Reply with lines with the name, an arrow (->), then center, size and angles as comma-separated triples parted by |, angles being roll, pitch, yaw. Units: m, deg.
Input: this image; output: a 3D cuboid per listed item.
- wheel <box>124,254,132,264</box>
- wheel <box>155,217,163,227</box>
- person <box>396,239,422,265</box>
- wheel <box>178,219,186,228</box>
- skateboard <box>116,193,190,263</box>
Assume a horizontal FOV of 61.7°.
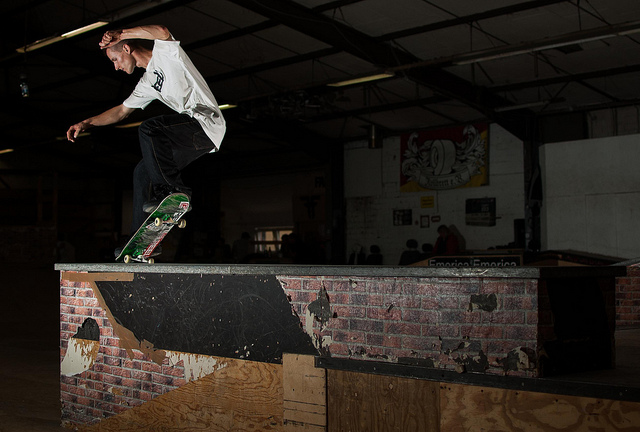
wheel -> -2.448, 0.538, 6.817 | 0.036, 0.099, 0.098 | 5, -7, -35
wheel -> -2.023, 0.065, 6.703 | 0.082, 0.087, 0.047 | -34, -30, 34
person -> 2.887, 1.149, 17.434 | 0.878, 0.696, 0.517 | -7, 9, 30
wheel -> -1.788, 0.095, 6.965 | 0.096, 0.097, 0.087 | 5, -7, 35
skateboard -> -2.135, 0.193, 6.832 | 0.483, 0.223, 1.609 | 8, -40, -38
